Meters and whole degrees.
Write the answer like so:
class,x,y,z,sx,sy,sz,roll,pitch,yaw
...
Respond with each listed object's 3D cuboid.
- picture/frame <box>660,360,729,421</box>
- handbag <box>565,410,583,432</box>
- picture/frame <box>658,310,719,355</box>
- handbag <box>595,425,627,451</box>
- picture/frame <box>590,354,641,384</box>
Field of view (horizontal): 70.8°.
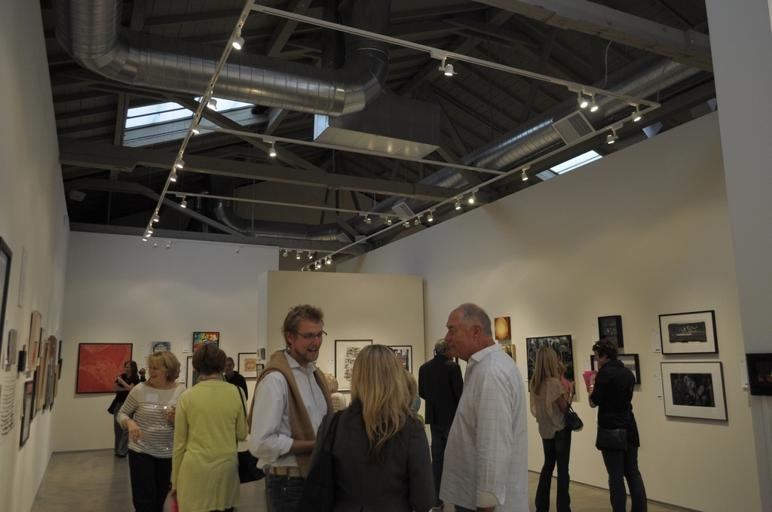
class,x,y,z,sx,sy,sz,roll,pitch,yaw
picture/frame,4.750,2.060,8.312,0.057,0.947,0.862,4,-13,-31
handbag,2.658,2.303,7.654,0.223,0.304,0.302,0,-11,-7
picture/frame,4.732,1.184,8.442,0.067,0.630,0.672,3,-7,-34
handbag,2.967,2.382,7.136,0.334,0.296,0.125,-1,-3,27
picture/frame,3.349,1.638,7.875,0.712,0.551,0.085,-2,-16,10
